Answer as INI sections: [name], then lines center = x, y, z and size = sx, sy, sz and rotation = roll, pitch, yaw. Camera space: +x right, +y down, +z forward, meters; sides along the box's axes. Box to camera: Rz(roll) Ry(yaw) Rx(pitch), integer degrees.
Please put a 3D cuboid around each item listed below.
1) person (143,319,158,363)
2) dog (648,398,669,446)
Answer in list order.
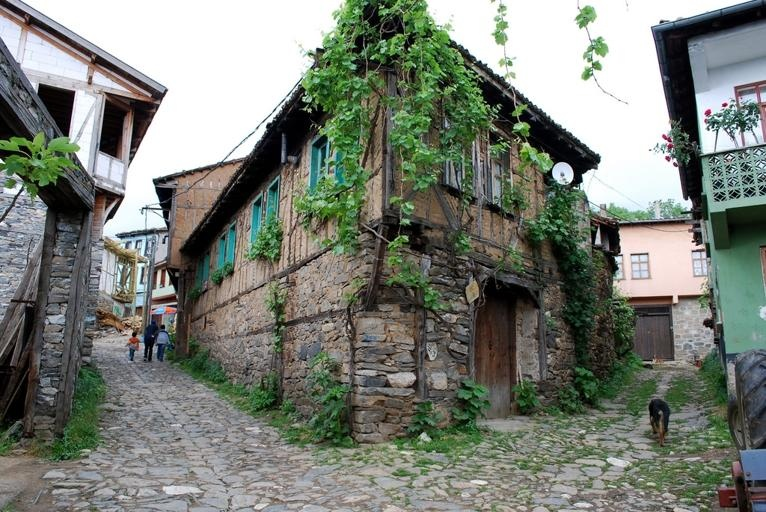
[person]
center = -9.087, 3.364, 20.068
size = 0.490, 1.470, 1.814
rotation = 1, -2, -25
[dog]
center = 5.105, 2.976, 9.429
size = 0.320, 0.667, 1.259
rotation = 1, 3, 27
